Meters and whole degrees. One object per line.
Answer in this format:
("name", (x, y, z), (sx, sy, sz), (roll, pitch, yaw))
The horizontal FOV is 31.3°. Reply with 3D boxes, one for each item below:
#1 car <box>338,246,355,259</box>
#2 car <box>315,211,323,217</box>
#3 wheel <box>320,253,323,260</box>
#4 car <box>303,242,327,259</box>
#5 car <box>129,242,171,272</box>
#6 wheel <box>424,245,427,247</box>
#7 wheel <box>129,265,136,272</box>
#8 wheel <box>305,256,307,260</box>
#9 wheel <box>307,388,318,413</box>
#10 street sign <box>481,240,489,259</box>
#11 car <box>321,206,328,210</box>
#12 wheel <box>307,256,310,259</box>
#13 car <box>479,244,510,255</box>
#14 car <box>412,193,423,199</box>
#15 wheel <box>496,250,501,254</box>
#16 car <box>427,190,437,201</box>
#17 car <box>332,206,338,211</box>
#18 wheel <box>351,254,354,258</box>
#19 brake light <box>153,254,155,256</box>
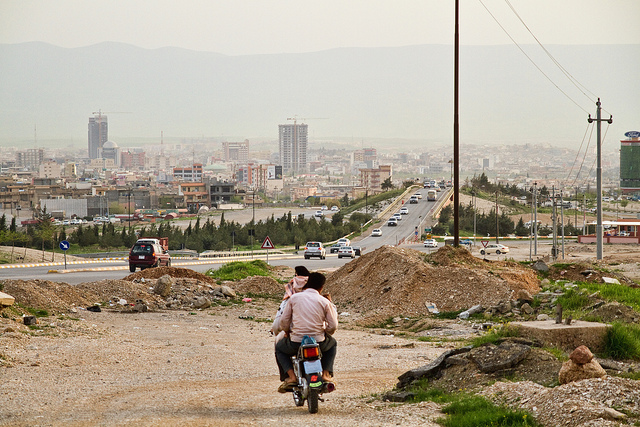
("car", (1.885, 2.744, 86.176), (1.197, 0.844, 1.629), (0, 2, -2))
("car", (-0.297, -0.381, 154.321), (1.041, 0.672, 1.982), (0, -1, -1))
("wheel", (0.019, 2.933, 84.148), (0.304, 0.453, 0.133), (-3, 0, -11))
("car", (-0.552, 2.602, 84.488), (1.440, 1.252, 1.159), (1, 2, 8))
("car", (-9.630, 2.273, 65.410), (1.259, 0.978, 2.451), (0, 4, 8))
("wheel", (8.761, 2.528, 96.384), (0.120, 0.244, 0.126), (0, -4, 0))
("wheel", (-10.682, 2.997, 64.672), (0.366, 0.415, 0.376), (2, 10, 0))
("wheel", (-1.138, 3.129, 84.961), (0.164, 0.323, 0.168), (-2, 9, 0))
("wheel", (-0.324, 7.125, 43.764), (0.319, 0.977, 0.925), (0, 0, -2))
("street sign", (13.075, 2.722, 91.502), (1.043, 1.294, 0.064), (-2, 6, 2))
("car", (0.526, -1.460, 195.526), (1.250, 0.990, 2.178), (0, 1, -1))
("wheel", (-0.949, 3.079, 84.692), (0.136, 0.143, 0.142), (2, 11, 0))
("car", (13.566, 2.630, 89.768), (1.803, 0.657, 0.959), (2, 1, 2))
("car", (11.704, -2.525, 139.193), (0.864, 0.694, 1.955), (1, -4, 5))
("wheel", (13.843, 2.822, 89.499), (0.296, 0.309, 0.266), (0, 3, -13))
("car", (13.212, -2.488, 136.276), (0.842, 0.932, 1.626), (-1, -2, 3))
("car", (2.254, -1.342, 191.791), (1.274, 1.003, 2.836), (-1, -2, 1))
("wheel", (2.325, 2.998, 85.755), (0.222, 0.232, 0.410), (-3, -14, 3))
("brake light", (-9.397, 2.169, 64.169), (0.076, 0.089, 0.080), (5, 20, 9))
